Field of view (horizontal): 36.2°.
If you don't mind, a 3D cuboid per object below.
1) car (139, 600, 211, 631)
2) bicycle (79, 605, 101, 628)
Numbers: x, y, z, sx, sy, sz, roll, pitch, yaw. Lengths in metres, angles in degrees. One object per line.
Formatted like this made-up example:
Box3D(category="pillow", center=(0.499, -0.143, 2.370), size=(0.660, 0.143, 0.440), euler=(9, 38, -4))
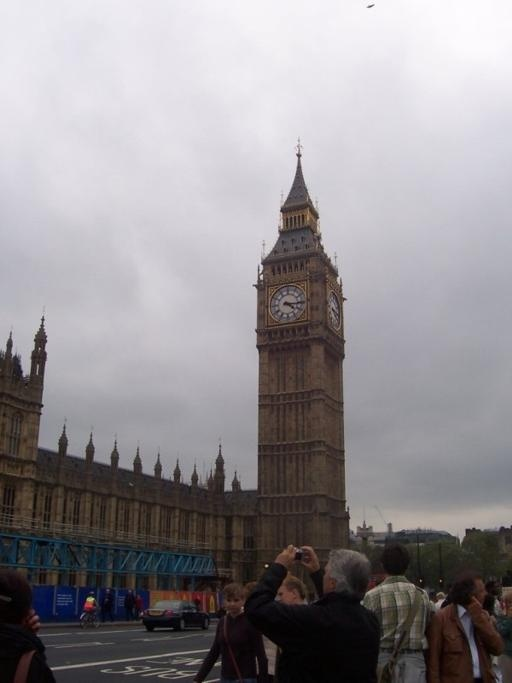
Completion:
Box3D(category="car", center=(-3.343, 11.130, 31.803), size=(1.225, 0.887, 2.991), euler=(-8, -24, 21))
Box3D(category="bicycle", center=(-6.947, 11.438, 32.300), size=(0.606, 0.713, 1.204), euler=(-1, -15, 13))
